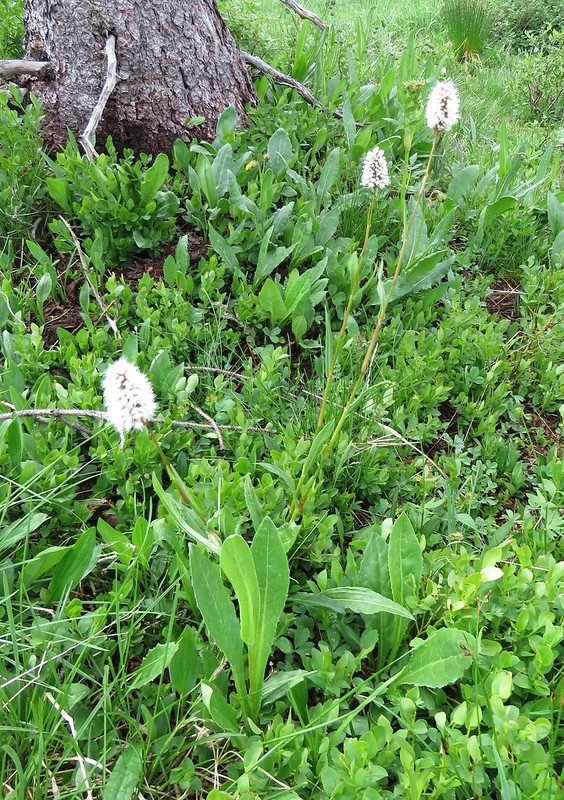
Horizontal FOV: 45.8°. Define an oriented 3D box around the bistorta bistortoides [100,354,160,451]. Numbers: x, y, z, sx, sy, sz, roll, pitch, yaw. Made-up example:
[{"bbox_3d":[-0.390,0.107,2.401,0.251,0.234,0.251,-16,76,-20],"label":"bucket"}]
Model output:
[{"bbox_3d":[-0.333,-0.007,1.339,0.106,0.196,0.122,-6,7,9],"label":"bistorta bistortoides"}]
